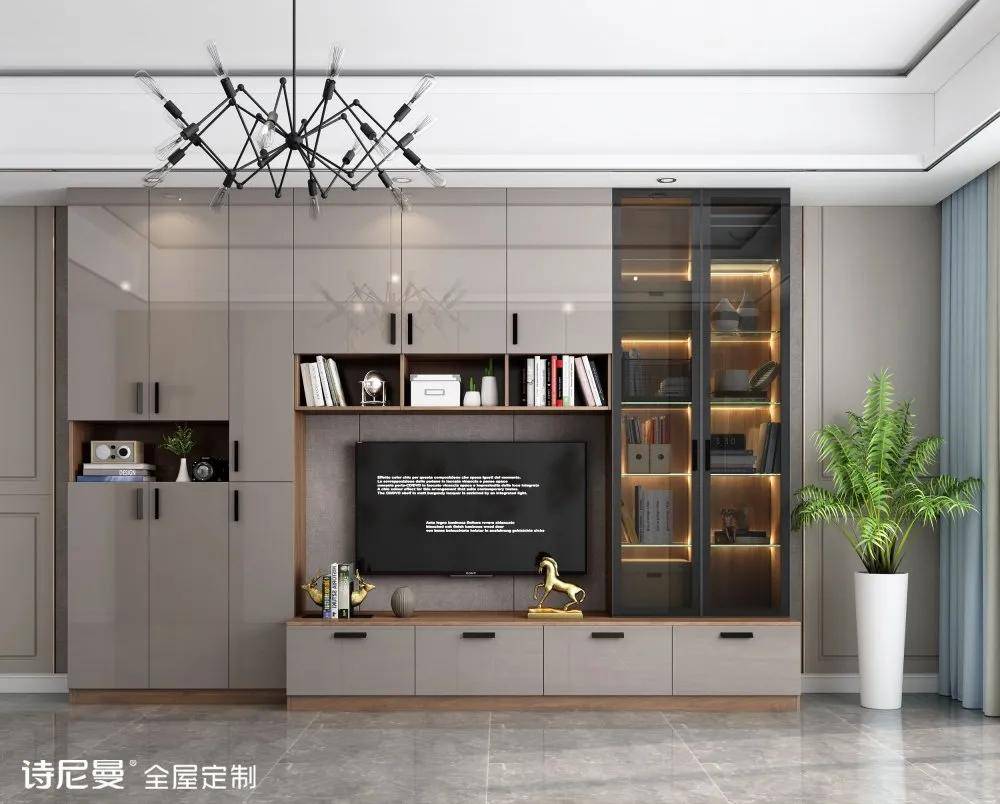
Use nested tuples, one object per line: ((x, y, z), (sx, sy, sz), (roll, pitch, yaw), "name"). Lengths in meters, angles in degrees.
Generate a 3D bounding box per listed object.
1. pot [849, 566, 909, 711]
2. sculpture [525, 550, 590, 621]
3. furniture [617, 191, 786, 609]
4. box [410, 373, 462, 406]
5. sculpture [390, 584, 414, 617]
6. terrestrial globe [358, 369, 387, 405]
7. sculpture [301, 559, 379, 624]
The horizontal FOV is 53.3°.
((2.282, 1.434, 5.996), (0.284, 0.815, 0.153), (1, 4, 19), "pot")
((0.352, 1.152, 6.243), (0.368, 0.383, 0.399), (0, 4, 4), "sculpture")
((1.232, -0.008, 6.137), (1.063, 2.593, 0.393), (0, 4, 6), "furniture")
((-0.415, -0.065, 6.326), (0.258, 0.176, 0.192), (0, -3, -1), "box")
((-0.595, 1.255, 6.213), (0.147, 0.178, 0.153), (-4, -6, 27), "sculpture")
((-0.798, -0.092, 6.274), (0.185, 0.254, 0.171), (0, -9, -5), "terrestrial globe")
((-0.994, 1.183, 6.219), (0.426, 0.328, 0.279), (-1, -2, 2), "sculpture")
